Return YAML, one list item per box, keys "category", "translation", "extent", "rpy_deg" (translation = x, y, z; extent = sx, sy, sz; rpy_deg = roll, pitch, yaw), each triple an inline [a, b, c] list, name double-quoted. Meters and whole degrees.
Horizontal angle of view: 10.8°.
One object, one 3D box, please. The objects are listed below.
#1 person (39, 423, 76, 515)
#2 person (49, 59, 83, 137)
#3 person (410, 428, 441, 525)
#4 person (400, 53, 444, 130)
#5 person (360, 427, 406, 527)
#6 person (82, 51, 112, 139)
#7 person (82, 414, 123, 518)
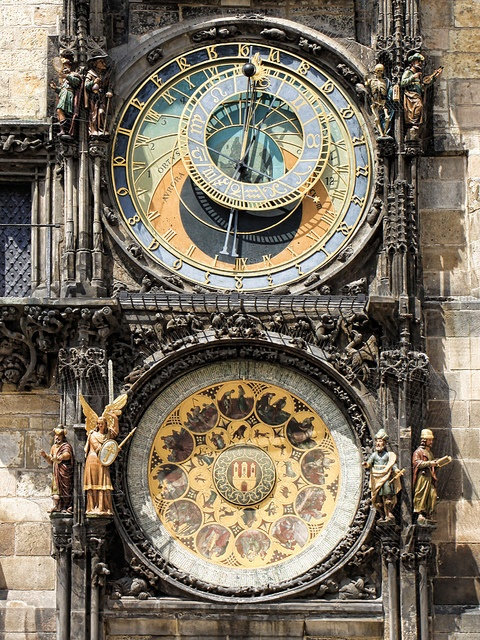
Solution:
- category: "person"
  translation: [-1.955, 1.523, 26.653]
  extent: [0.272, 0.854, 0.457]
  rpy_deg: [-6, 7, 12]
- category: "person"
  translation: [-2.007, -2.403, 27.722]
  extent: [0.338, 0.869, 0.397]
  rpy_deg: [-12, 8, -34]
- category: "person"
  translation: [1.939, 1.589, 26.563]
  extent: [0.272, 0.916, 0.502]
  rpy_deg: [-2, 8, 37]
- category: "person"
  translation: [1.938, -2.471, 27.686]
  extent: [0.271, 0.796, 0.489]
  rpy_deg: [-4, 7, 27]
- category: "person"
  translation: [1.510, 1.586, 26.545]
  extent: [0.412, 0.912, 0.322]
  rpy_deg: [-8, 7, -4]
- category: "person"
  translation: [-1.590, -2.456, 27.698]
  extent: [0.249, 0.912, 0.526]
  rpy_deg: [-3, 8, 30]
- category: "person"
  translation: [-1.529, 1.472, 26.509]
  extent: [0.347, 0.988, 0.533]
  rpy_deg: [-5, 7, 15]
